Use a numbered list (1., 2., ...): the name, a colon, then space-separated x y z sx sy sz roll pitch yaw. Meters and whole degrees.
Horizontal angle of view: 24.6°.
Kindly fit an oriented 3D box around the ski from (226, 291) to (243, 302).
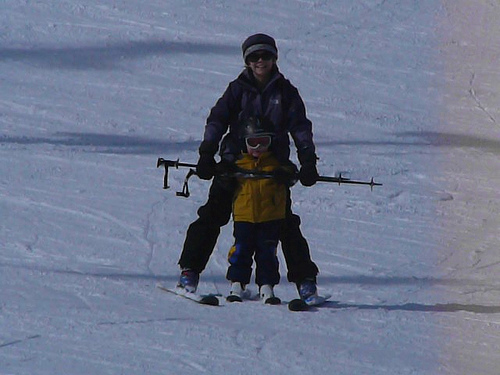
1. ski: -0.248 1.658 17.287 0.186 0.116 0.189 18 37 -6

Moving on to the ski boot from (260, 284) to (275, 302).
1. ski boot: 0.221 1.573 17.419 0.275 0.225 0.278 -4 36 -3

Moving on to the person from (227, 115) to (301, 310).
1. person: 0.137 0.352 17.435 0.969 2.837 0.854 5 4 -1

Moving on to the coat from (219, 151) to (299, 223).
1. coat: 0.129 0.006 17.548 1.146 1.103 0.430 5 4 0
